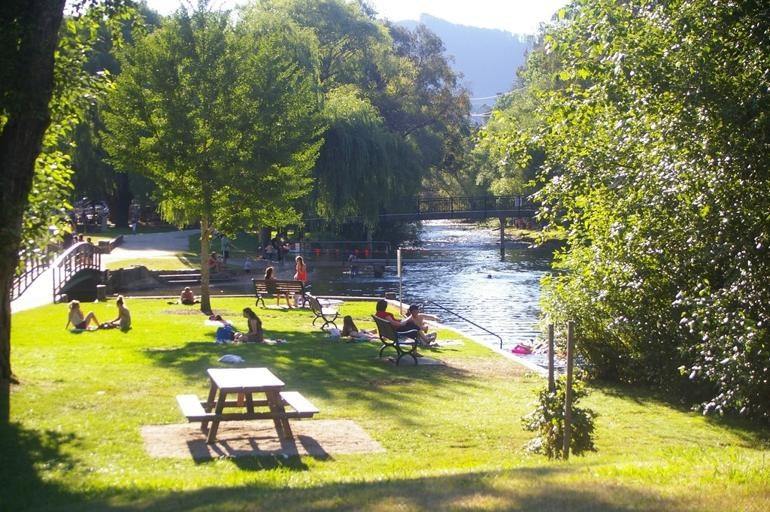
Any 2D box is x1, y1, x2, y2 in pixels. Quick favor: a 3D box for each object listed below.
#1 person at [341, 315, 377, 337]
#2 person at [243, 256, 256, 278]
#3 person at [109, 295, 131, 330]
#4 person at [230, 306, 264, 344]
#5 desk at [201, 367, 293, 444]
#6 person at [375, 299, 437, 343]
[{"bbox_3d":[-0.815,2.098,27.144,1.050,0.613,0.796,3,0,-44],"label":"person"},{"bbox_3d":[-7.426,0.597,48.852,0.716,0.787,1.790,10,-10,-6],"label":"person"},{"bbox_3d":[-8.385,1.782,28.261,0.504,1.335,0.757,-13,20,-41],"label":"person"},{"bbox_3d":[-3.898,1.941,25.632,0.839,1.282,0.911,2,3,5],"label":"person"},{"bbox_3d":[-2.768,3.016,18.185,1.815,1.283,1.394,4,0,-5],"label":"desk"},{"bbox_3d":[0.715,1.895,25.720,1.870,1.310,0.773,4,4,-19],"label":"person"}]
